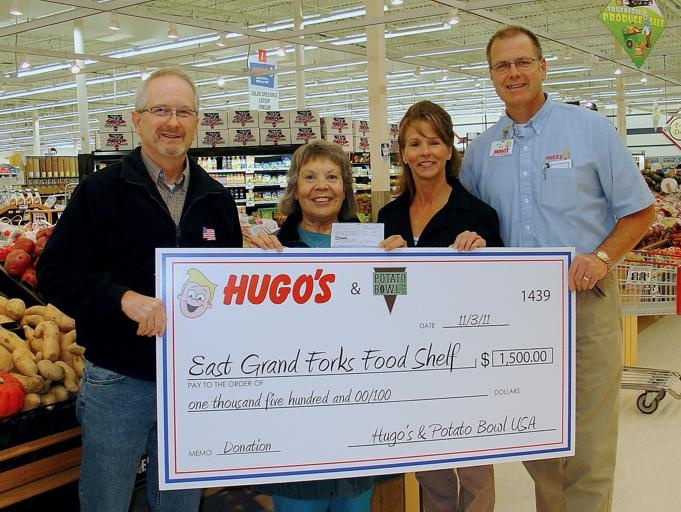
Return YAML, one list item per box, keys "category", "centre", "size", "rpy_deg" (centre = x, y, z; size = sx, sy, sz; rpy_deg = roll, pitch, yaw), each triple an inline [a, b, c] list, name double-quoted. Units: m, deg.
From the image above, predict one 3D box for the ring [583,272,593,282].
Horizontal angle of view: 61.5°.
- category: "ring"
  centre: [1.096, 0.061, 2.531]
  size: [0.043, 0.034, 0.010]
  rpy_deg: [3, -6, 3]

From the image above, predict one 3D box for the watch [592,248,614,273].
- category: "watch"
  centre: [1.194, 0.000, 2.581]
  size: [0.025, 0.085, 0.077]
  rpy_deg: [-41, 36, 16]

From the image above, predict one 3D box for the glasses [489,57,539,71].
- category: "glasses"
  centre: [0.833, -0.837, 2.733]
  size: [0.216, 0.047, 0.055]
  rpy_deg: [-2, 7, 12]
